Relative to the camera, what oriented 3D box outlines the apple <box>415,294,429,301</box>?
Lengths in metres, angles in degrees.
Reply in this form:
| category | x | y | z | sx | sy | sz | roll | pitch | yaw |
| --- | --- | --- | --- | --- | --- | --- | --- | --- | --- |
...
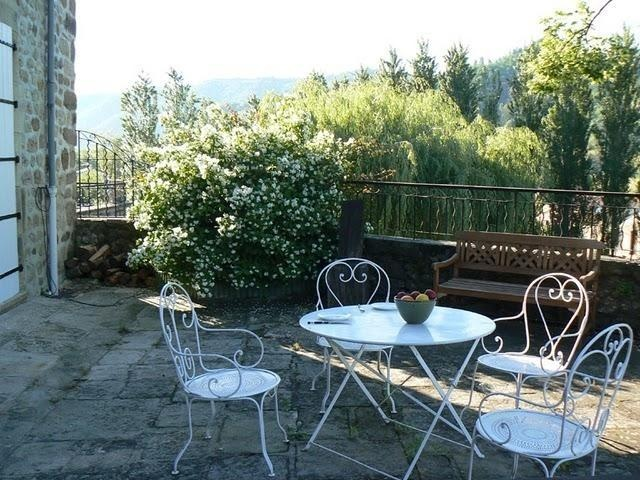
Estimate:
| category | x | y | z | sx | sy | sz | roll | pitch | yaw |
| --- | --- | --- | --- | --- | --- | --- | --- | --- | --- |
| apple | 0.712 | 0.399 | 3.378 | 0.097 | 0.036 | 0.100 | 2 | 11 | 11 |

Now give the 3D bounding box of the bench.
| category | x | y | z | sx | sy | sz | roll | pitch | yaw |
| --- | --- | --- | --- | --- | --- | --- | --- | --- | --- |
| bench | 2.220 | 0.483 | 5.596 | 1.661 | 1.047 | 0.666 | 4 | 9 | 42 |

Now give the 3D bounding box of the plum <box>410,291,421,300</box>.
| category | x | y | z | sx | sy | sz | roll | pitch | yaw |
| --- | --- | --- | --- | --- | --- | --- | --- | --- | --- |
| plum | 0.685 | 0.384 | 3.466 | 0.066 | 0.040 | 0.070 | -7 | -24 | 5 |
